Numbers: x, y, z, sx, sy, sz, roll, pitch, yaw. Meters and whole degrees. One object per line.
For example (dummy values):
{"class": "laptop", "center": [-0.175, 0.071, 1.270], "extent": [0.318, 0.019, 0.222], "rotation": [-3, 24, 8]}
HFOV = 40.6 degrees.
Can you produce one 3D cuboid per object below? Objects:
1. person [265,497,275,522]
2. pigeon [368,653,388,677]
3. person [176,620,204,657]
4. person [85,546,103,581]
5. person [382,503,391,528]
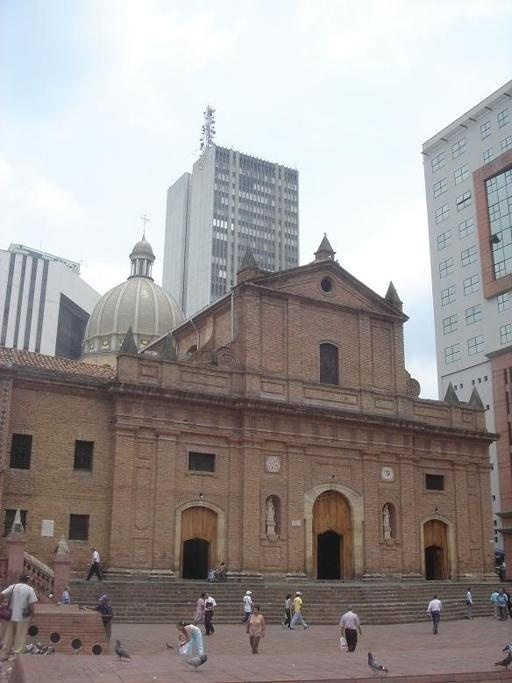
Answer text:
{"class": "person", "center": [0.729, 8.252, 33.822], "extent": [0.261, 1.220, 0.705], "rotation": [-8, -18, 25]}
{"class": "pigeon", "center": [2.193, 5.793, 12.404], "extent": [0.336, 0.306, 0.632], "rotation": [-3, -17, 9]}
{"class": "person", "center": [-1.292, 5.854, 13.437], "extent": [0.470, 0.728, 1.578], "rotation": [2, -16, -6]}
{"class": "person", "center": [-6.666, 9.230, 28.660], "extent": [0.619, 1.254, 2.301], "rotation": [3, -17, -11]}
{"class": "person", "center": [7.046, 9.435, 37.422], "extent": [0.218, 1.243, 0.850], "rotation": [-9, -19, 26]}
